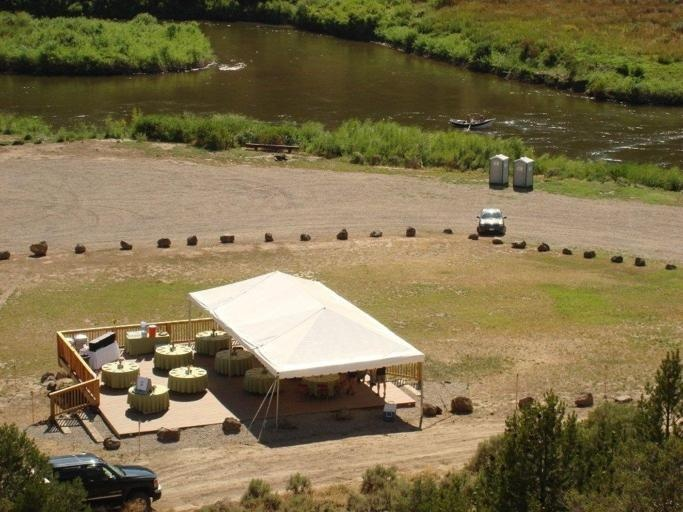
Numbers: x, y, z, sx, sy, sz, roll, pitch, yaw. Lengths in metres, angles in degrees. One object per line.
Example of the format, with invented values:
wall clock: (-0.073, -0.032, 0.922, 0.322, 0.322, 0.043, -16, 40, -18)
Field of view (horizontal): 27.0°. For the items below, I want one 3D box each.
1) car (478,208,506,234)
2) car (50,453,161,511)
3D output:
car: (12.203, -2.932, 115.293, 2.250, 1.693, 2.799, 1, 16, 8)
car: (-14.383, 13.855, 87.084, 5.509, 3.069, 3.284, -2, 18, -11)
